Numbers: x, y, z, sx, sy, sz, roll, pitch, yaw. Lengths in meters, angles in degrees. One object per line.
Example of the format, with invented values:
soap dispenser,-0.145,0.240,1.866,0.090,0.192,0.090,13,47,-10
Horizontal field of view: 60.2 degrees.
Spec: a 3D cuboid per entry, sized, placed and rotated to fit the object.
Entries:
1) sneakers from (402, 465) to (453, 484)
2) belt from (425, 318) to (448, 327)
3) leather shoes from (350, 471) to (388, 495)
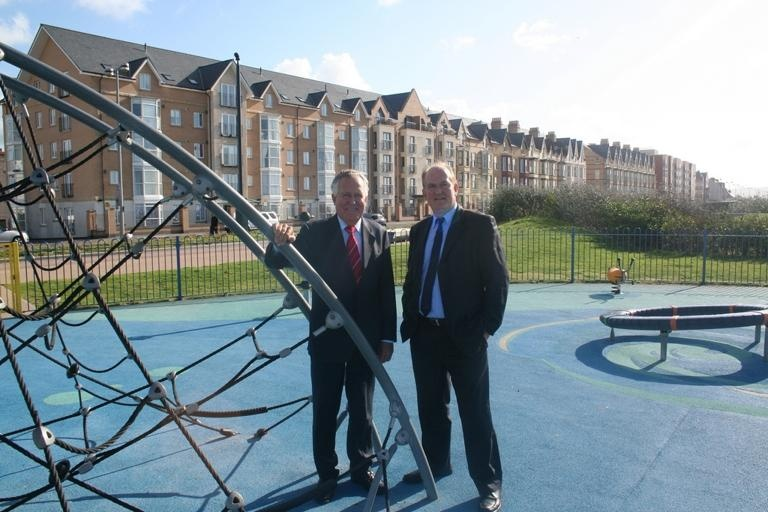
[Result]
sneakers,0.532,2.662,8.174,0.610,0.277,0.214,3,-2,-7
belt,0.595,0.766,7.695,0.243,0.098,0.031,3,4,28
leather shoes,-0.138,2.674,7.942,0.521,0.240,0.201,-4,-4,40
